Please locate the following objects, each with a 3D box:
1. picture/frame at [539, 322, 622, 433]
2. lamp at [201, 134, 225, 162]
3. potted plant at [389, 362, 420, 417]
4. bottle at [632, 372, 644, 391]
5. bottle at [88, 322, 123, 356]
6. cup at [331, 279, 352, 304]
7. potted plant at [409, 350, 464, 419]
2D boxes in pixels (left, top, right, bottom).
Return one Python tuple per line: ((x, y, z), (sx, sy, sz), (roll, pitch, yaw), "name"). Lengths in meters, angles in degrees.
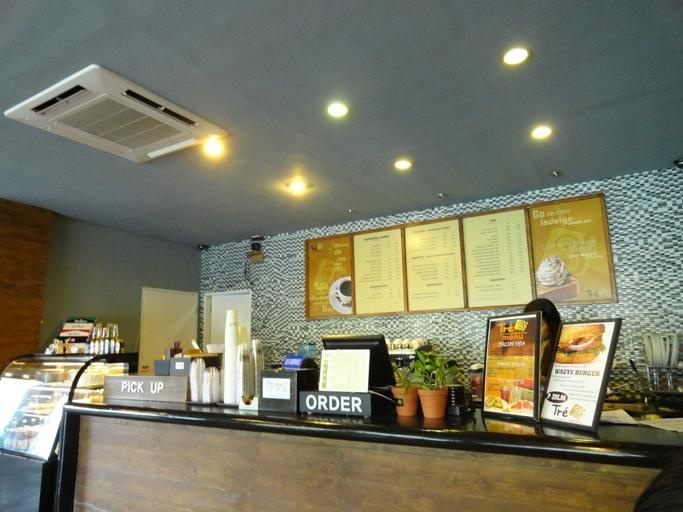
((0.973, 0.475, 1.798), (0.155, 0.430, 0.321), (8, -17, -32), "picture/frame")
((-1.121, -0.947, 3.843), (0.151, 0.131, 0.140), (7, 0, 5), "lamp")
((0.305, 0.686, 2.231), (0.169, 0.249, 0.213), (-9, -15, 33), "potted plant")
((2.904, 1.207, 4.276), (0.080, 0.171, 0.069), (-9, -17, 28), "bottle")
((-2.678, 0.914, 4.985), (0.345, 0.326, 0.291), (6, -16, -27), "bottle")
((0.031, 0.448, 5.921), (0.220, 0.340, 0.216), (23, -44, 25), "cup")
((0.455, 0.608, 2.110), (0.247, 0.306, 0.190), (-4, -15, 12), "potted plant")
